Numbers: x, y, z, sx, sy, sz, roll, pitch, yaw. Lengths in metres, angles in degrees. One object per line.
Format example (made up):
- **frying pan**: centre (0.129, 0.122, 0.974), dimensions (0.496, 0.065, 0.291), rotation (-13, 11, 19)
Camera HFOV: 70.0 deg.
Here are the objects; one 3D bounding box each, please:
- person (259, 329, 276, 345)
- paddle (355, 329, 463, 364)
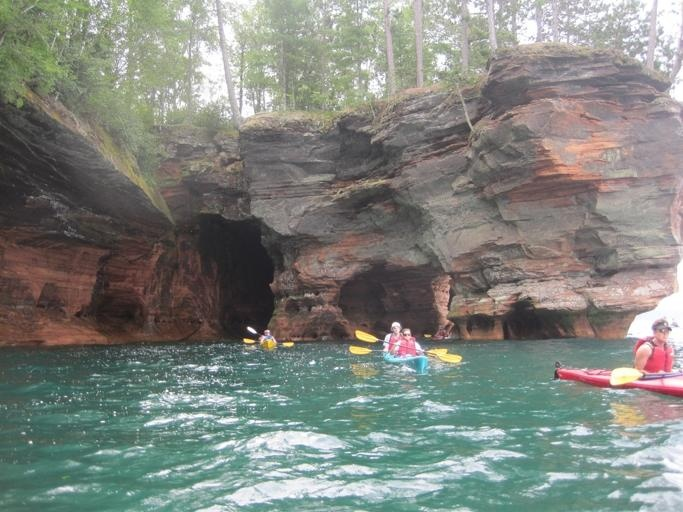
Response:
- **person**: centre (-3.012, 3.350, 19.885), dimensions (0.635, 0.377, 1.774), rotation (-3, -17, -5)
- **paddle**: centre (2.193, 2.730, 14.421), dimensions (1.254, 0.454, 3.506), rotation (-7, -4, -21)
